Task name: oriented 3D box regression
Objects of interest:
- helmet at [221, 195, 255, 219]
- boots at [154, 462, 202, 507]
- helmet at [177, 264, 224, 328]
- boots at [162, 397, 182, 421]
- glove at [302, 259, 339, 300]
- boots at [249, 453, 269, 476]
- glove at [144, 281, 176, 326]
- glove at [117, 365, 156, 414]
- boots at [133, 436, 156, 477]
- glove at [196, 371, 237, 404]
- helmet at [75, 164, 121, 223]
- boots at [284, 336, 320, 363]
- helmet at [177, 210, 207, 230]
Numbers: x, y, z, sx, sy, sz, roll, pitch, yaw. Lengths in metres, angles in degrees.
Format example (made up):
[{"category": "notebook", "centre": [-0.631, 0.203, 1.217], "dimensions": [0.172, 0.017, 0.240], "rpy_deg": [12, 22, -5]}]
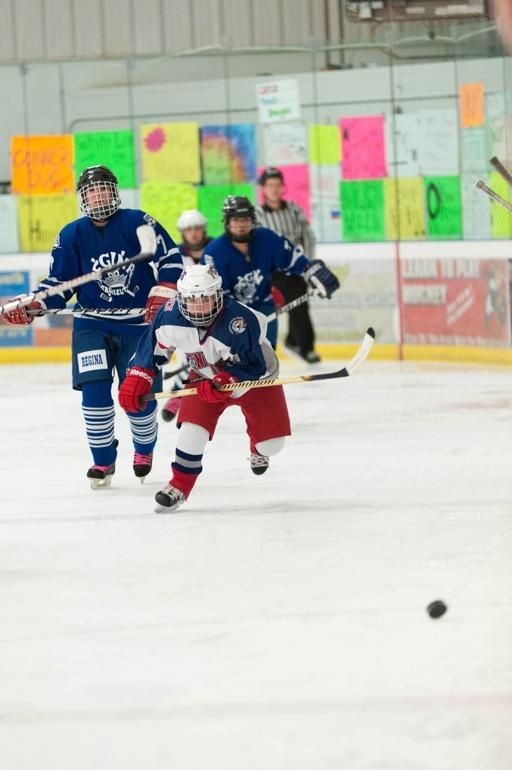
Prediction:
[{"category": "helmet", "centre": [-0.064, -0.691, 3.432], "dimensions": [0.123, 0.095, 0.155], "rpy_deg": [-3, 6, -1]}, {"category": "boots", "centre": [-0.215, 0.293, 2.684], "dimensions": [0.073, 0.086, 0.207], "rpy_deg": [20, 42, 11]}, {"category": "helmet", "centre": [-0.162, -0.256, 2.561], "dimensions": [0.140, 0.186, 0.161], "rpy_deg": [-4, 7, -2]}, {"category": "boots", "centre": [-0.390, 0.116, 4.119], "dimensions": [0.080, 0.117, 0.095], "rpy_deg": [16, -8, 10]}, {"category": "glove", "centre": [0.248, -0.459, 3.805], "dimensions": [0.068, 0.132, 0.183], "rpy_deg": [-21, -46, 35]}, {"category": "boots", "centre": [0.020, 0.277, 3.002], "dimensions": [0.040, 0.045, 0.106], "rpy_deg": [5, 41, -6]}, {"category": "glove", "centre": [-0.329, -0.273, 3.028], "dimensions": [0.111, 0.139, 0.065], "rpy_deg": [-5, -11, 31]}, {"category": "glove", "centre": [-0.365, 0.015, 2.720], "dimensions": [0.111, 0.129, 0.060], "rpy_deg": [14, 12, 7]}, {"category": "boots", "centre": [-0.390, 0.263, 3.100], "dimensions": [0.052, 0.153, 0.072], "rpy_deg": [0, -14, -4]}, {"category": "glove", "centre": [-0.114, 0.012, 2.578], "dimensions": [0.083, 0.042, 0.103], "rpy_deg": [-6, 21, -11]}, {"category": "helmet", "centre": [-0.538, -0.654, 3.015], "dimensions": [0.136, 0.197, 0.153], "rpy_deg": [-5, 7, -11]}, {"category": "boots", "centre": [0.338, -0.253, 6.128], "dimensions": [0.231, 0.086, 0.076], "rpy_deg": [34, 46, 7]}, {"category": "helmet", "centre": [-0.354, -0.915, 4.899], "dimensions": [0.117, 0.107, 0.126], "rpy_deg": [-14, 11, 2]}]
